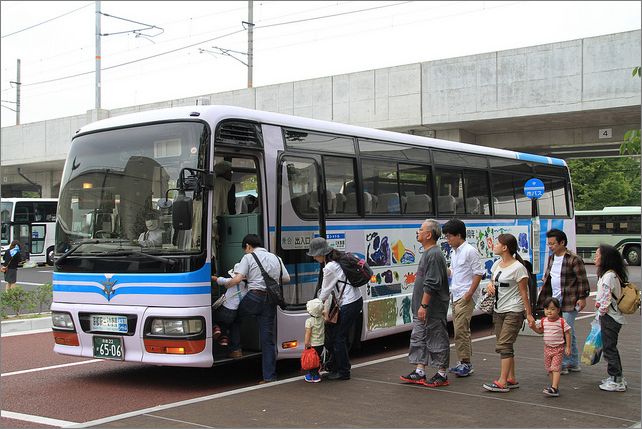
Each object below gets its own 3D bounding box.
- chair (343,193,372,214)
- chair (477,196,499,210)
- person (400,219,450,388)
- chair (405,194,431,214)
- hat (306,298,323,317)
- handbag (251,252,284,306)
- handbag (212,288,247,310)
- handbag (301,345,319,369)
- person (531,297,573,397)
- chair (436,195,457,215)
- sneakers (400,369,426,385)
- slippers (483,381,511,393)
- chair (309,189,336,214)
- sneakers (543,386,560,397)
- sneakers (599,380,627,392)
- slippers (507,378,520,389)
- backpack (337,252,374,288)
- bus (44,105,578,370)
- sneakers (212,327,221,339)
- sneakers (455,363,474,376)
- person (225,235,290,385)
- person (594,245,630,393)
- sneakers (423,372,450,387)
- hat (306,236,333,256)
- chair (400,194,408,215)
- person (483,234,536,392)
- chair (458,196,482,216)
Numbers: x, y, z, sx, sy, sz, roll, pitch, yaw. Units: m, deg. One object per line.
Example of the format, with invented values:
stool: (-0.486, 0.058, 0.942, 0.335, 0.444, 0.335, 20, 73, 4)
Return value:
chair: (0.752, -0.229, 10.420, 0.704, 0.381, 0.636, -1, -5, -25)
chair: (4.371, -0.285, 13.781, 0.395, 0.244, 0.377, 4, -7, -43)
person: (1.707, 1.394, 8.492, 0.657, 2.618, 0.520, -1, -2, 11)
chair: (2.065, -0.275, 11.714, 0.685, 0.587, 0.387, -4, 8, -35)
hat: (-0.083, 1.453, 8.579, 0.212, 0.265, 0.235, 20, -47, -8)
handbag: (-0.953, 1.072, 8.927, 0.545, 0.762, 0.881, -10, 18, -31)
handbag: (-1.466, 1.330, 8.579, 0.421, 0.162, 0.303, -40, 27, -12)
handbag: (-0.158, 2.299, 8.506, 0.280, 0.403, 0.248, 0, -2, 1)
person: (3.539, 1.992, 8.140, 0.504, 1.416, 0.709, -1, -2, 26)
chair: (2.925, -0.241, 12.302, 0.469, 0.495, 0.414, -2, -1, -12)
sneakers: (1.490, 2.604, 8.613, 0.446, 0.216, 0.179, 2, -1, 21)
slippers: (2.669, 2.606, 8.130, 0.405, 0.157, 0.159, 2, -9, 0)
chair: (-0.022, -0.244, 9.804, 0.304, 0.531, 0.521, 5, 7, 30)
sneakers: (3.437, 2.625, 7.938, 0.208, 0.145, 0.216, -1, -2, 24)
sneakers: (4.479, 2.616, 8.239, 0.416, 0.189, 0.152, 2, -2, 16)
slippers: (3.012, 2.627, 8.324, 0.102, 0.107, 0.255, -5, -12, 39)
backpack: (0.574, 0.918, 8.916, 0.597, 0.621, 0.441, -18, -14, 21)
bus: (0.857, 0.424, 14.770, 4.423, 4.427, 15.047, -3, -3, 36)
sneakers: (-1.669, 1.879, 8.511, 0.057, 0.178, 0.111, 11, 16, 44)
sneakers: (2.424, 2.610, 8.987, 0.139, 0.165, 0.360, -7, -10, 38)
person: (-1.191, 1.557, 8.961, 1.253, 2.380, 1.205, 0, -7, 15)
person: (4.490, 1.577, 8.181, 0.440, 2.246, 0.636, -1, -2, 30)
sneakers: (1.871, 2.599, 8.448, 0.469, 0.205, 0.186, 0, -2, -13)
hat: (-0.019, 0.533, 8.621, 0.300, 0.168, 0.312, 0, 24, 47)
chair: (1.761, -0.213, 11.312, 0.127, 0.347, 0.256, -1, 20, 6)
person: (2.879, 1.491, 8.151, 0.725, 2.395, 0.485, -1, -2, 20)
chair: (3.653, -0.206, 12.907, 0.523, 0.557, 0.446, 1, 0, -24)
